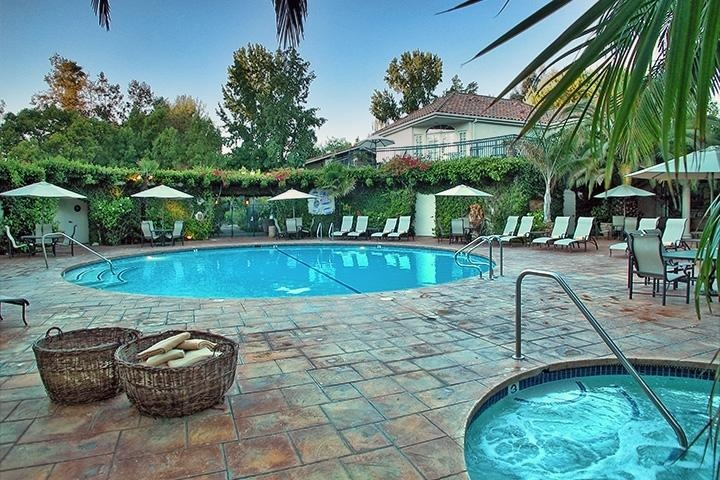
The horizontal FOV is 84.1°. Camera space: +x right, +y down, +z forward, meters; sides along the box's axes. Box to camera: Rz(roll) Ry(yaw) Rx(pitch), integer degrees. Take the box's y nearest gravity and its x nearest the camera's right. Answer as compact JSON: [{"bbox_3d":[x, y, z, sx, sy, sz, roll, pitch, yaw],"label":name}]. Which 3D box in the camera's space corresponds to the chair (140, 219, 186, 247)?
[{"bbox_3d":[-8.376,-0.247,16.182,1.901,1.165,1.086,-2,0,22],"label":"chair"}]

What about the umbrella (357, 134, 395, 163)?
[{"bbox_3d":[0.787,-5.690,24.090,1.617,0.995,1.560,-3,-6,22],"label":"umbrella"}]

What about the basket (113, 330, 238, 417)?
[{"bbox_3d":[-1.586,1.121,3.442,1.002,0.531,0.747,1,6,24],"label":"basket"}]

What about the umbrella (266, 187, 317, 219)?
[{"bbox_3d":[-3.118,-1.955,18.207,1.385,0.943,1.374,1,6,24],"label":"umbrella"}]

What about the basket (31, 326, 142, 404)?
[{"bbox_3d":[-2.457,1.132,3.649,0.835,0.490,0.793,0,-9,-20],"label":"basket"}]
